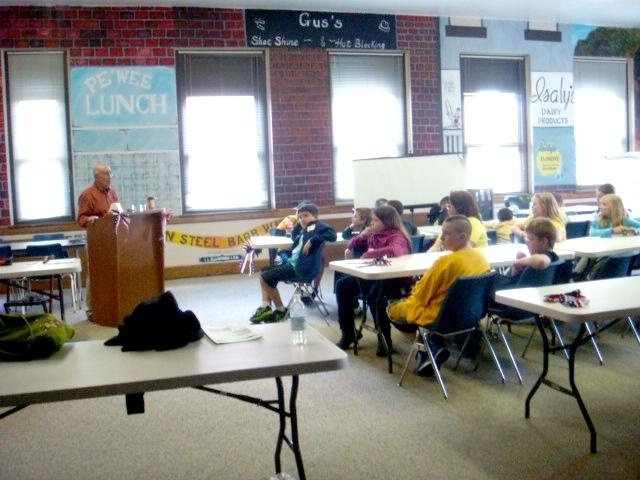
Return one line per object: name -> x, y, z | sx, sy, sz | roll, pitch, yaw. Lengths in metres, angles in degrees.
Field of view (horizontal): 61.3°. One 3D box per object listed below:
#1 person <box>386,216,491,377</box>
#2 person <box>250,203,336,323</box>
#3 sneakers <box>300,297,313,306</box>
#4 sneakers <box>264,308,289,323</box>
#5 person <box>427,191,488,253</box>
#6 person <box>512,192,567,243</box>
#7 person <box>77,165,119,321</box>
person -> 0.864, 0.468, 4.094 | 0.763, 1.276, 0.483 | 2, 11, 23
person -> -0.314, 0.288, 6.468 | 1.175, 1.788, 1.048 | 4, -1, -4
sneakers -> -0.165, 0.737, 6.534 | 0.090, 0.101, 0.116 | 3, -9, -40
sneakers -> -0.443, 0.785, 5.614 | 0.183, 0.113, 0.215 | -2, 0, -9
person -> 1.364, -0.231, 5.453 | 0.586, 0.815, 0.639 | 3, 4, 16
person -> 2.385, -0.251, 5.904 | 0.824, 0.593, 0.529 | -1, 2, -19
person -> -2.509, 0.001, 6.183 | 0.433, 1.701, 1.095 | -6, 11, -21
